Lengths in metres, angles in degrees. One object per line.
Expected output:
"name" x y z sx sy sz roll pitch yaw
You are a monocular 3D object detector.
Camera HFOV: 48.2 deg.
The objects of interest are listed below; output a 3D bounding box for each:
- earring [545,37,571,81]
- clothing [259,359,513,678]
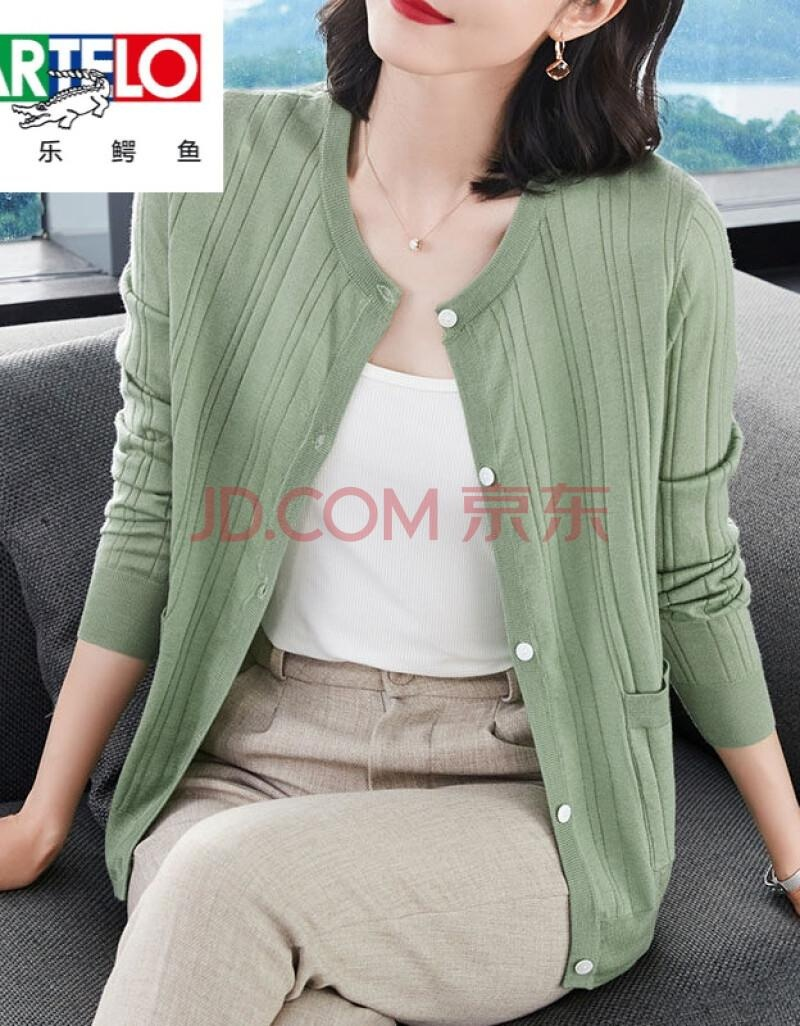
"earring" 0.145 -0.414 0.814 0.022 0.037 0.053 6 33 7
"clothing" -0.010 -0.006 0.802 0.225 0.250 0.141 19 11 -4
